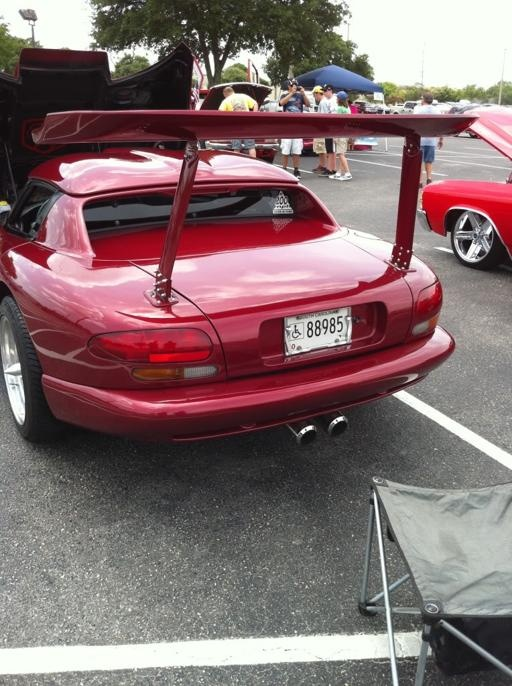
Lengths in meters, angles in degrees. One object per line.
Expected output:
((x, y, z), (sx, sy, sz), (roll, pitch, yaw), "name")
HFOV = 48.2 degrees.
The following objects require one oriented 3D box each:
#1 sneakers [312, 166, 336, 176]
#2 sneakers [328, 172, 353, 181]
((1.609, -4.065, 13.605), (0.596, 0.216, 0.206), (7, 36, -2), "sneakers")
((1.869, -3.786, 13.019), (0.664, 0.238, 0.237), (11, 23, 28), "sneakers")
